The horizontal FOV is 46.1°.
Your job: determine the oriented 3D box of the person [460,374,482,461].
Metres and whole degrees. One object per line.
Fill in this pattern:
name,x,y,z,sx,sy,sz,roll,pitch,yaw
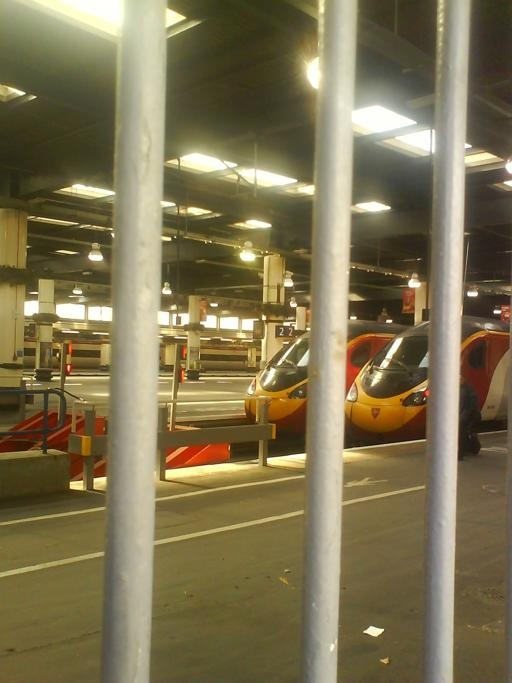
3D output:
person,4.009,1.407,11.338,0.342,1.328,2.223,1,0,19
